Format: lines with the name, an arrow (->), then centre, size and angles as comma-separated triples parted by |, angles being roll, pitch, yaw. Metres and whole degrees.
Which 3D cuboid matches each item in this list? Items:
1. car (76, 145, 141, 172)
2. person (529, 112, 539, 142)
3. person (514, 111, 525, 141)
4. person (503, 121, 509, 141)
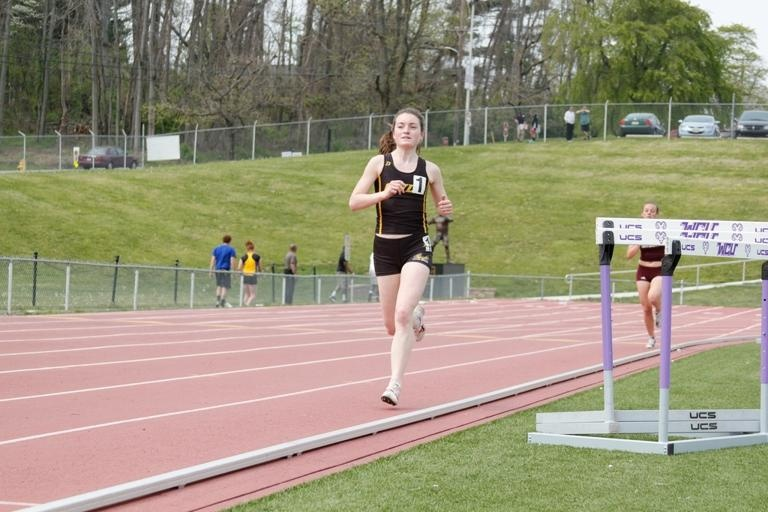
car -> -14.558, -5.116, 52.041 | 0.951, 1.265, 3.390 | 0, 2, 28
person -> 8.503, -7.261, 55.969 | 0.513, 1.543, 0.404 | -1, 2, 7
person -> 7.697, -7.250, 55.668 | 0.550, 1.568, 0.493 | -1, 2, 0
person -> 6.854, -6.939, 55.621 | 0.360, 1.045, 0.204 | -1, 2, -4
